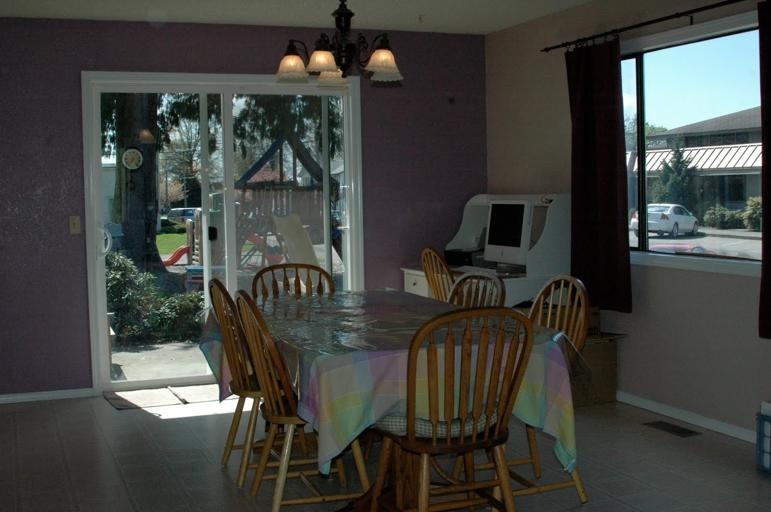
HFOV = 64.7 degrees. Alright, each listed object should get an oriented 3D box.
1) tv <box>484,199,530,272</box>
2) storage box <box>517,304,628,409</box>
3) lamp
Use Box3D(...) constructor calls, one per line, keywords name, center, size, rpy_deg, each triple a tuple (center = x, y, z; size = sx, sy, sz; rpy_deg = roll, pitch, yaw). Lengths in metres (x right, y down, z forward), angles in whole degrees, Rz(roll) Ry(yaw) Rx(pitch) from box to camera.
Box3D(name="tv", center=(1.042, -0.193, 5.175), size=(0.123, 0.496, 0.526), rpy_deg=(6, 3, -35))
Box3D(name="storage box", center=(1.488, 0.825, 4.960), size=(1.207, 0.895, 0.669), rpy_deg=(-1, 5, -3))
Box3D(name="lamp", center=(-0.393, -1.625, 4.499), size=(0.858, 0.651, 0.946), rpy_deg=(0, 11, 4))
